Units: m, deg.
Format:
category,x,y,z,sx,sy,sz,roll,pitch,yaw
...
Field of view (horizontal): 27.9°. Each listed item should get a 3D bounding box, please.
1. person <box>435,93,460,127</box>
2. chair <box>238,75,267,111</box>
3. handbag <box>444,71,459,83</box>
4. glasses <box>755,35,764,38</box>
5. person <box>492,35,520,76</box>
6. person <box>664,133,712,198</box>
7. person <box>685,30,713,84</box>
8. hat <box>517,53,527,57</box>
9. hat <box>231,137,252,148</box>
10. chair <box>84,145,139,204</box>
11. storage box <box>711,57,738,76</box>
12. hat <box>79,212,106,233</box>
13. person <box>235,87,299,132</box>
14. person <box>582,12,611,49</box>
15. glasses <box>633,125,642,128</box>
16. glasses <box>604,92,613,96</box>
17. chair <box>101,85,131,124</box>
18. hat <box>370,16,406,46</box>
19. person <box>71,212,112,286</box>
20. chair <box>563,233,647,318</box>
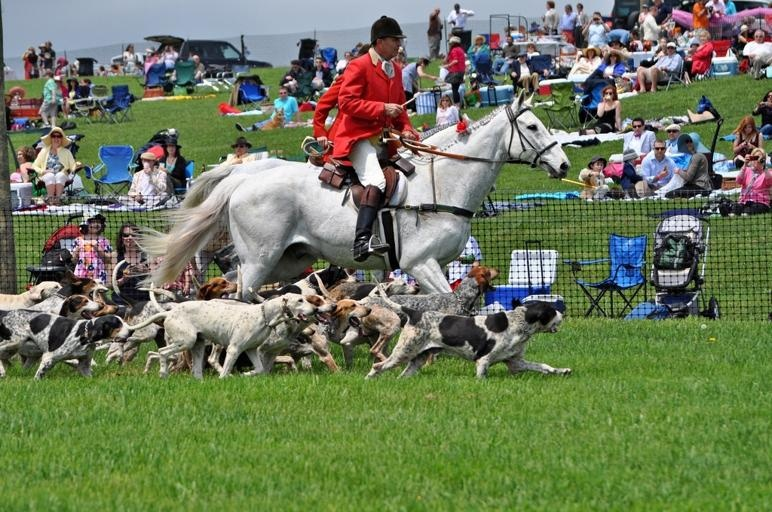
category,x,y,z,sx,sy,sz,roll,pitch,yaw
person,1.888,-4.431,48.072,0.806,1.107,0.642,-12,48,4
chair,-5.510,-6.890,64.939,1.229,1.259,1.301,-2,4,-25
handbag,2.433,-6.315,55.025,0.622,0.387,0.348,-1,6,-3
glasses,13.314,-7.771,55.080,0.211,0.130,0.257,0,3,5
person,4.717,-7.721,60.377,0.911,1.576,1.021,12,13,33
person,8.068,-2.382,41.124,1.302,1.587,1.010,1,-2,20
person,11.145,-7.046,55.595,1.184,1.833,0.937,3,5,-2
hat,5.261,-7.642,59.274,0.386,0.169,0.528,4,11,15
hat,-4.014,-3.186,43.547,0.509,0.231,0.592,-2,-13,3
chair,-8.238,-2.350,47.430,1.696,1.753,1.609,7,-14,-39
storage box,12.262,-6.792,55.896,0.936,0.549,0.687,0,3,10
hat,-6.602,-0.760,34.826,0.609,0.309,0.462,-3,-8,28
person,-4.237,-5.046,56.263,2.837,1.145,0.818,-16,33,-36
person,8.096,-8.151,59.008,0.965,2.202,0.652,-2,-25,5
glasses,7.213,-3.659,44.018,0.239,0.085,0.323,0,4,6
glasses,7.016,-5.035,48.613,0.212,0.093,0.144,0,4,8
chair,-10.898,-6.116,63.202,1.308,1.505,2.327,-1,4,-10
hat,0.051,-4.450,30.642,0.615,0.515,0.513,-1,4,0
person,-6.621,-0.019,34.977,0.787,1.734,0.635,2,28,-7
chair,5.333,0.444,36.497,1.662,1.851,2.861,0,4,8
